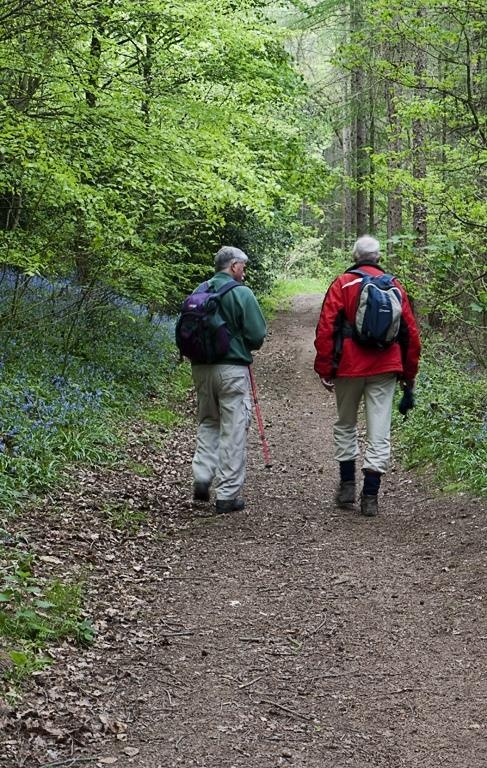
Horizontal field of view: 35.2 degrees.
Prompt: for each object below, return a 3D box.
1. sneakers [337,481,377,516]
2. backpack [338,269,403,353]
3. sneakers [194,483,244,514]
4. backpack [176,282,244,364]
[{"bbox_3d":[0.936,0.944,6.283,0.270,0.166,0.408,1,-6,3],"label":"sneakers"},{"bbox_3d":[1.023,-0.542,5.821,0.436,0.513,0.560,2,1,-13],"label":"backpack"},{"bbox_3d":[-0.180,0.944,6.466,0.186,0.219,0.540,4,5,23],"label":"sneakers"},{"bbox_3d":[-0.233,-0.529,6.317,0.693,0.613,0.485,-5,11,-44],"label":"backpack"}]
